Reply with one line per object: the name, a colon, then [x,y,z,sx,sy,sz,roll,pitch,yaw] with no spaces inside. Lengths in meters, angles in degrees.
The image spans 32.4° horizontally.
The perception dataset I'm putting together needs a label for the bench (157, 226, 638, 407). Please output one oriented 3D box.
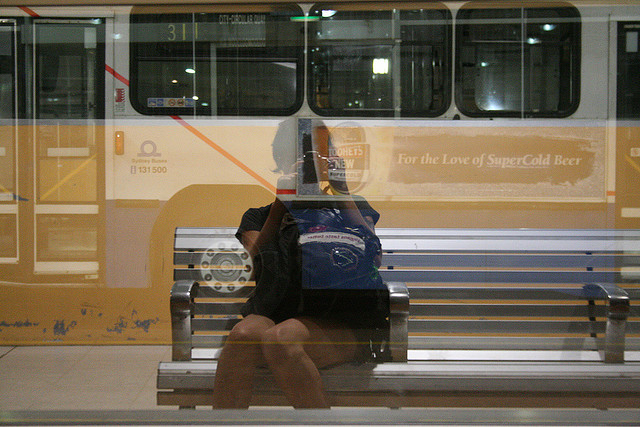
bench: [0.553,0.559,6.032,2.415,0.984,0.258,-1,6,0]
